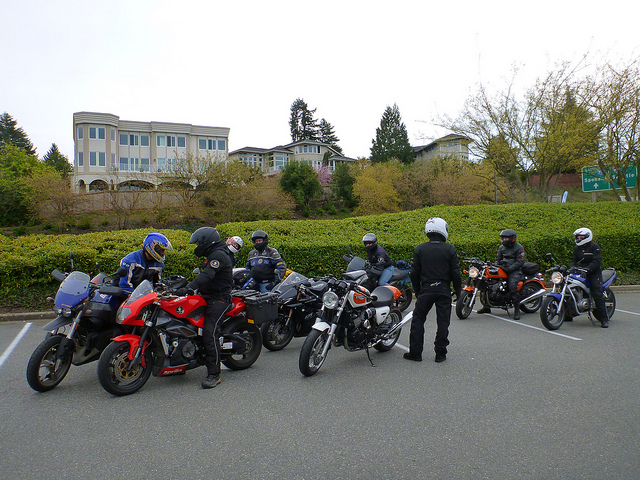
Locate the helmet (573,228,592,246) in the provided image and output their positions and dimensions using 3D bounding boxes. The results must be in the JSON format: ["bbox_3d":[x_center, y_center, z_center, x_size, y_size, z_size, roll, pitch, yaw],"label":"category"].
[{"bbox_3d":[6.507,-0.099,11.395,0.410,0.362,0.342,1,-3,-12],"label":"helmet"}]

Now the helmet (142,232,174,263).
[{"bbox_3d":[-2.946,0.044,8.329,0.520,0.425,0.384,27,18,0],"label":"helmet"}]

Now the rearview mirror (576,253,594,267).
[{"bbox_3d":[6.434,0.466,11.230,0.276,0.232,0.294,-4,1,0],"label":"rearview mirror"}]

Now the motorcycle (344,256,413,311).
[{"bbox_3d":[1.555,1.205,11.860,2.306,1.598,1.228,-4,7,-44],"label":"motorcycle"}]

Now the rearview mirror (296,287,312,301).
[{"bbox_3d":[-0.368,1.079,9.174,0.306,0.231,0.303,18,-35,-38],"label":"rearview mirror"}]

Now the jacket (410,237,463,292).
[{"bbox_3d":[2.238,0.548,8.937,1.227,1.505,0.805,-1,-7,20],"label":"jacket"}]

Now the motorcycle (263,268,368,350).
[{"bbox_3d":[0.014,1.335,9.757,2.696,1.615,0.991,-7,7,-38],"label":"motorcycle"}]

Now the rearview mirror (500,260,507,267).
[{"bbox_3d":[4.732,0.602,11.963,0.140,0.117,0.148,0,0,-11],"label":"rearview mirror"}]

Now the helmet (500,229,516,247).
[{"bbox_3d":[4.920,-0.068,12.206,0.416,0.448,0.373,8,-3,-17],"label":"helmet"}]

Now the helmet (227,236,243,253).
[{"bbox_3d":[-1.944,0.086,10.672,0.266,0.377,0.364,28,-11,1],"label":"helmet"}]

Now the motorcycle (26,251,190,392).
[{"bbox_3d":[-3.737,1.334,8.150,1.360,1.904,3.068,3,2,17],"label":"motorcycle"}]

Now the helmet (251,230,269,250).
[{"bbox_3d":[-1.331,0.005,10.304,0.297,0.414,0.417,-3,-10,6],"label":"helmet"}]

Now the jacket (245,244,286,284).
[{"bbox_3d":[-1.309,0.502,10.284,1.120,0.915,0.570,-3,0,24],"label":"jacket"}]

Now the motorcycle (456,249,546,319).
[{"bbox_3d":[4.654,1.123,12.020,2.598,1.693,1.413,-4,1,-9],"label":"motorcycle"}]

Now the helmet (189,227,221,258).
[{"bbox_3d":[-2.047,0.004,8.152,0.578,0.533,0.482,-16,13,-33],"label":"helmet"}]

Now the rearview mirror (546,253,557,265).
[{"bbox_3d":[7.068,0.568,14.211,0.399,0.179,0.268,21,17,16],"label":"rearview mirror"}]

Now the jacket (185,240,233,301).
[{"bbox_3d":[-1.834,0.556,8.056,0.647,0.962,1.129,6,-2,1],"label":"jacket"}]

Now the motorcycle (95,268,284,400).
[{"bbox_3d":[-2.173,1.465,7.943,3.112,1.940,1.033,-2,0,-38],"label":"motorcycle"}]

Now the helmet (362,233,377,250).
[{"bbox_3d":[1.206,0.023,11.489,0.272,0.334,0.376,-2,-4,35],"label":"helmet"}]

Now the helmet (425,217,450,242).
[{"bbox_3d":[2.271,-0.220,9.016,0.344,0.437,0.489,2,-5,45],"label":"helmet"}]

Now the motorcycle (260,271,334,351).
[{"bbox_3d":[-0.139,1.455,9.747,2.453,1.527,0.912,2,2,-45],"label":"motorcycle"}]

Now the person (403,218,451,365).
[{"bbox_3d":[2.011,0.913,8.675,0.840,2.562,1.015,1,8,9],"label":"person"}]

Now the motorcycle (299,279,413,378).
[{"bbox_3d":[0.731,1.471,8.588,1.020,1.625,2.894,10,9,42],"label":"motorcycle"}]

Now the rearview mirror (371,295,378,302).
[{"bbox_3d":[1.001,1.073,8.613,0.081,0.089,0.045,-2,-17,-27],"label":"rearview mirror"}]

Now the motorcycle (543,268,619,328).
[{"bbox_3d":[6.099,1.371,11.093,2.545,1.466,0.911,-7,10,-40],"label":"motorcycle"}]
